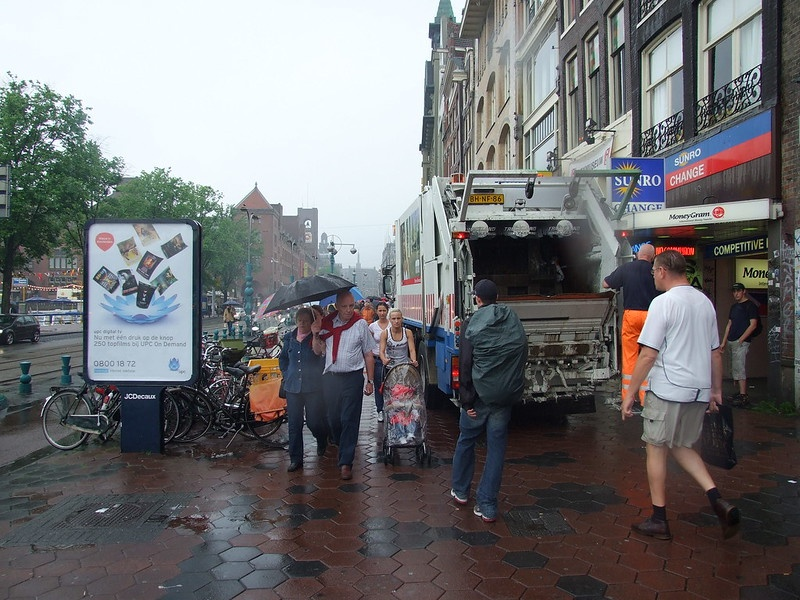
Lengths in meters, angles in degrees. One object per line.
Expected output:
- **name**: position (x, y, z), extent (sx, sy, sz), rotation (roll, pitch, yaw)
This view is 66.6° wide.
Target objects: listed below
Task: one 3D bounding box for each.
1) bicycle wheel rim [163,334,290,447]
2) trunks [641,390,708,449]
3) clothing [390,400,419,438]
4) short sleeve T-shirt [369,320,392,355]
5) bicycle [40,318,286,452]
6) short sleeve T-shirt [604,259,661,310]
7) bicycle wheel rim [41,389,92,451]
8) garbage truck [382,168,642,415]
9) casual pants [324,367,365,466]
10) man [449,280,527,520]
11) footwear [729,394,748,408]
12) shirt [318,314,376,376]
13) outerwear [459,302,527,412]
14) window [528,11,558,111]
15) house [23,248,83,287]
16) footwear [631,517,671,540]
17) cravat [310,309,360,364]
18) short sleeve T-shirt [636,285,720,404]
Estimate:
- **bicycle wheel rim**: position (-2.580, 1.507, 9.011), extent (1.791, 1.227, 0.935), rotation (-1, -3, -7)
- **trunks**: position (2.465, 1.071, 5.472), extent (0.491, 0.556, 0.337), rotation (7, 2, -14)
- **clothing**: position (0.059, 1.500, 7.584), extent (0.279, 0.430, 0.196), rotation (2, -1, 2)
- **short sleeve T-shirt**: position (-0.285, 0.575, 8.921), extent (0.429, 0.635, 0.231), rotation (1, -13, -13)
- **bicycle**: position (-3.434, 1.160, 9.236), extent (3.545, 2.001, 1.513), rotation (-1, 4, -6)
- **short sleeve T-shirt**: position (3.008, -0.172, 7.853), extent (0.642, 0.569, 0.230), rotation (0, 2, 41)
- **bicycle wheel rim**: position (-4.539, 1.623, 8.277), extent (0.598, 0.811, 0.285), rotation (1, 4, 17)
- **garbage truck**: position (1.556, -0.383, 10.752), extent (2.474, 3.122, 5.114), rotation (-1, 1, -4)
- **casual pants**: position (-0.699, 1.452, 7.322), extent (0.474, 1.176, 0.507), rotation (0, 4, 5)
- **man**: position (0.862, 0.969, 6.274), extent (0.782, 2.342, 0.851), rotation (-4, 8, -43)
- **footwear**: position (5.808, 1.727, 10.408), extent (0.416, 0.197, 0.142), rotation (5, -6, -39)
- **shirt**: position (-0.701, 0.547, 7.473), extent (0.712, 0.767, 0.453), rotation (1, -2, 9)
- **outerwear**: position (0.942, 0.580, 6.098), extent (0.705, 1.110, 0.431), rotation (-5, 8, -17)
- **window**: position (4.934, -7.881, 20.894), extent (0.038, 2.027, 2.014), rotation (20, 32, 28)
- **house**: position (-52.840, -5.460, 92.469), extent (7.127, 7.117, 3.982), rotation (-3, 29, -36)
- **footwear**: position (2.288, 2.086, 5.582), extent (0.350, 0.176, 0.130), rotation (2, -6, 42)
- **cravat**: position (-0.806, 0.403, 7.366), extent (0.364, 0.622, 0.167), rotation (-2, -38, 10)
- **short sleeve T-shirt**: position (2.505, 0.403, 5.458), extent (0.693, 1.016, 0.226), rotation (-2, 4, -15)
